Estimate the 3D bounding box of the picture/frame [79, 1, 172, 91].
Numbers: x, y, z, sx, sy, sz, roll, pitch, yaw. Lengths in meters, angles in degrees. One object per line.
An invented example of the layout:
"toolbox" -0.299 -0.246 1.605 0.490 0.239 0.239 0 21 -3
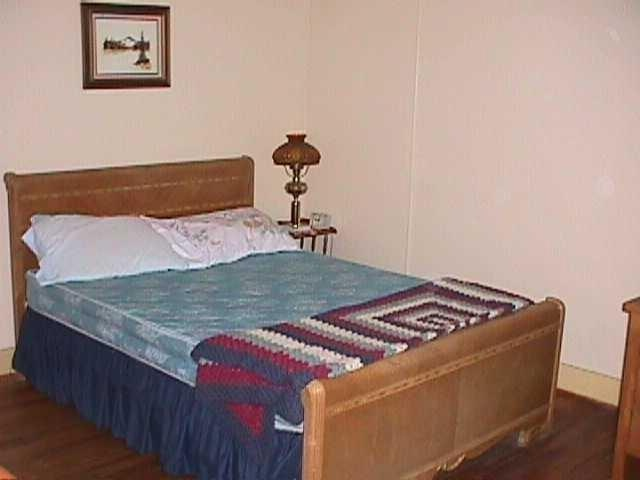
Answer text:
"picture/frame" -1.543 -1.534 4.632 0.767 0.659 0.056 -6 12 -37
